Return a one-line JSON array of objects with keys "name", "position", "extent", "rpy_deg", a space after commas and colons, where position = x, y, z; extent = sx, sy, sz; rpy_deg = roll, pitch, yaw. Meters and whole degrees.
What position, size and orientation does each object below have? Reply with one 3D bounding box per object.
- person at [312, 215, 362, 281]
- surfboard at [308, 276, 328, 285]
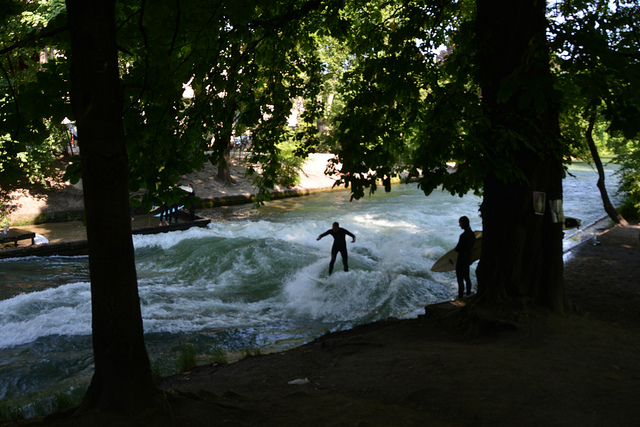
[{"name": "person", "position": [0.629, 1.251, 17.117], "extent": [1.163, 2.065, 0.717], "rpy_deg": [0, 21, 6]}, {"name": "surfboard", "position": [-0.077, 2.234, 16.791], "extent": [0.712, 0.186, 0.408], "rpy_deg": [-5, 8, 20]}]
